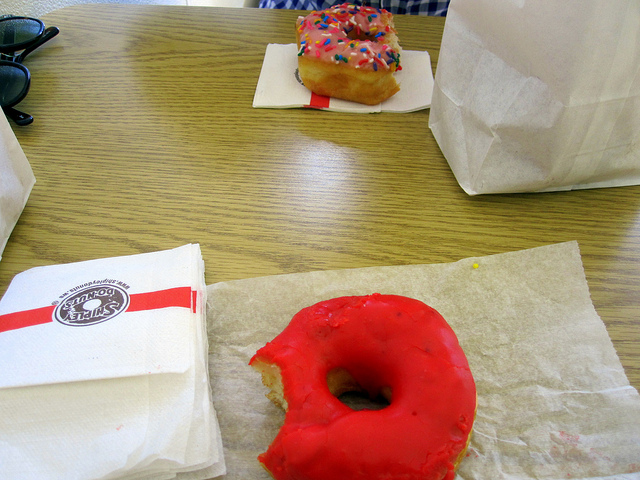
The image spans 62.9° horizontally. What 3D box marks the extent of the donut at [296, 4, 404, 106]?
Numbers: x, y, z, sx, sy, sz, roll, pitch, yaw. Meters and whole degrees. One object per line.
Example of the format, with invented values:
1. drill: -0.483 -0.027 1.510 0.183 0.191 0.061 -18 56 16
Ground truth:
1. donut: 0.068 -0.401 1.197 0.261 0.224 0.334 4 31 14

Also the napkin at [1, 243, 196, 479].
1. napkin: -0.317 0.160 0.738 0.281 0.057 0.333 -9 56 -3
